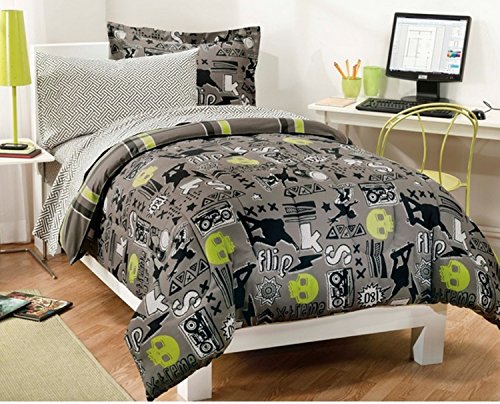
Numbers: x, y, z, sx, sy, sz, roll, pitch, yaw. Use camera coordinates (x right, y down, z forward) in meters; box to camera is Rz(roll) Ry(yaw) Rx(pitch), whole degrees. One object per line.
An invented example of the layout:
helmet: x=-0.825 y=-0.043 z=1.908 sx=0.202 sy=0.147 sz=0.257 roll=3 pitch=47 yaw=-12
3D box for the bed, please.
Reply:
bed: x=-0.340 y=0.009 z=1.983 sx=1.494 sy=0.994 sz=1.941 roll=-9 pitch=23 yaw=-27

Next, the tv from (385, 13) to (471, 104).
tv: x=1.215 y=-0.966 z=2.622 sx=0.586 sy=0.578 sz=0.200 roll=10 pitch=23 yaw=32

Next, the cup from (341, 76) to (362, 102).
cup: x=0.718 y=-0.788 z=2.775 sx=0.163 sy=0.170 sz=0.162 roll=0 pitch=13 yaw=0

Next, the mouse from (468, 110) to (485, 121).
mouse: x=1.337 y=-0.501 z=2.312 sx=0.076 sy=0.036 sz=0.105 roll=1 pitch=17 yaw=2
